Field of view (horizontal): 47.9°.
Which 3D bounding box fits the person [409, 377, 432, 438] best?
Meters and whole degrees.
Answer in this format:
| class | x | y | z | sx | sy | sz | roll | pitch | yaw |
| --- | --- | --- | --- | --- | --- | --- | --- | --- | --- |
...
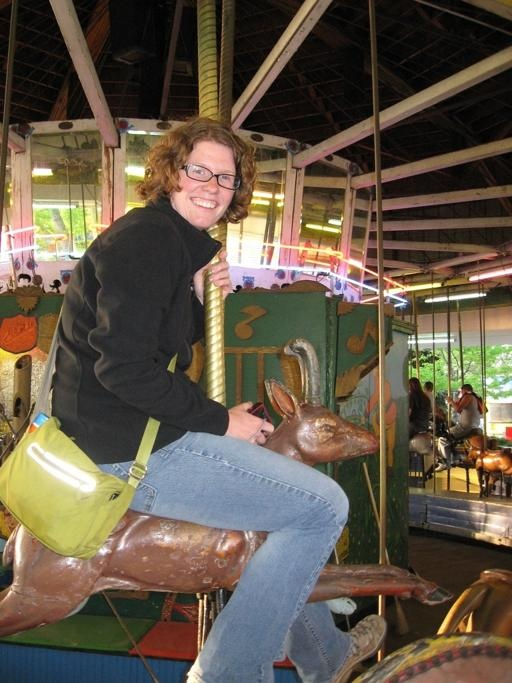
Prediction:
| class | x | y | z | sx | sy | sz | roll | pitch | yaw |
| --- | --- | --- | --- | --- | --- | --- | --- | --- | --- |
| person | 3.245 | 1.328 | 11.436 | 0.400 | 1.219 | 1.067 | 4 | 1 | 17 |
